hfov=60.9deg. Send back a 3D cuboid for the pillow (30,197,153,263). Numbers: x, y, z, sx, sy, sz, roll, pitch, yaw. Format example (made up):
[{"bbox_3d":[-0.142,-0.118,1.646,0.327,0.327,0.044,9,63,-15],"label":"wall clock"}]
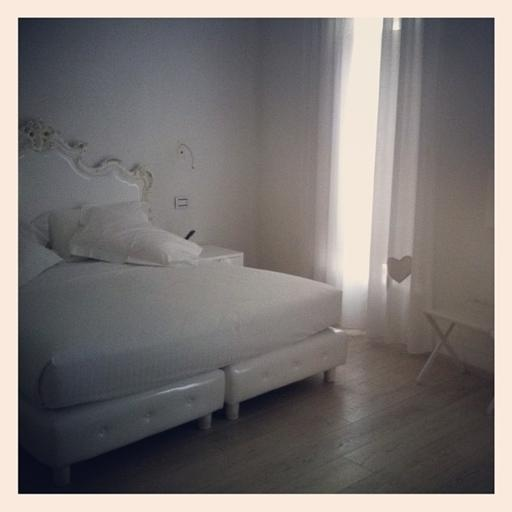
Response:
[{"bbox_3d":[-0.476,-0.064,1.268,0.330,0.169,0.065,-7,13,-11],"label":"pillow"}]
